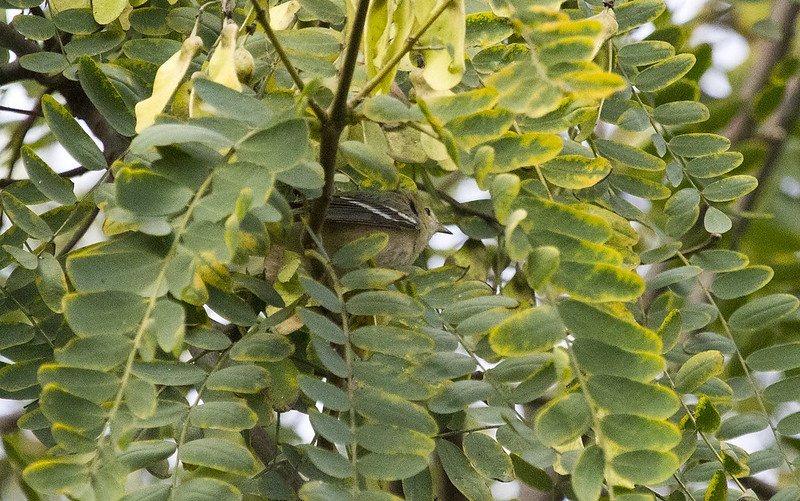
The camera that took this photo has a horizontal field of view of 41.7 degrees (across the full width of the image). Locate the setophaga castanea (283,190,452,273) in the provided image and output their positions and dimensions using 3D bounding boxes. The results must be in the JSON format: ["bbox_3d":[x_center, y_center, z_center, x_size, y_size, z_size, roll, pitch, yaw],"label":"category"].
[{"bbox_3d":[-0.135,-0.097,4.130,0.727,0.255,0.311,15,-24,-28],"label":"setophaga castanea"}]
